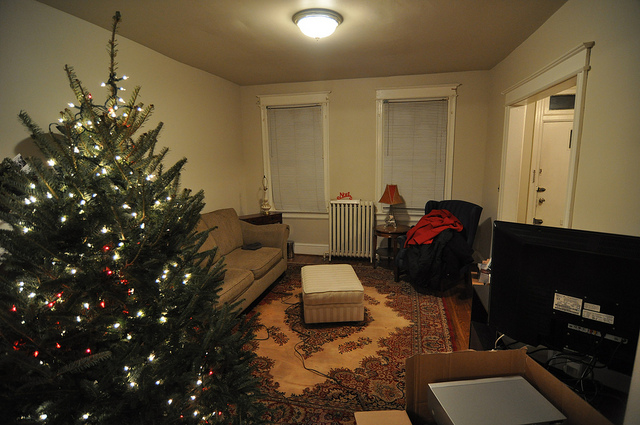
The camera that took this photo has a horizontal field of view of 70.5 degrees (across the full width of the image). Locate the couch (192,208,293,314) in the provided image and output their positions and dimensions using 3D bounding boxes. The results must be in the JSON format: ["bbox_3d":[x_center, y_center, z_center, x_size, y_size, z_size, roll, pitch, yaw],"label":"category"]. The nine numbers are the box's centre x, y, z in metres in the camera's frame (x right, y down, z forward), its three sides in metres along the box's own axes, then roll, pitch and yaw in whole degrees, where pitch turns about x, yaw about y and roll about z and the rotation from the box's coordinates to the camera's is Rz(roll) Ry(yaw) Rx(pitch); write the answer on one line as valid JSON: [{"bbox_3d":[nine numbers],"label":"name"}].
[{"bbox_3d":[-0.830,0.480,5.021,0.856,0.849,1.989,2,16,8],"label":"couch"}]

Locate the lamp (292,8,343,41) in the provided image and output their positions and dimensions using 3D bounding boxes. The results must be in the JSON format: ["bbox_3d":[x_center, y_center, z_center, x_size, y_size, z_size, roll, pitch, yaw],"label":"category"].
[{"bbox_3d":[-0.018,-1.669,4.001,0.444,0.180,0.245,0,9,-3],"label":"lamp"}]

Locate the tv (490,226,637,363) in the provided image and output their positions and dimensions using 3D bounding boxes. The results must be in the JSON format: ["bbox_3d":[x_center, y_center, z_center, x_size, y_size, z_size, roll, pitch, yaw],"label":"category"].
[{"bbox_3d":[1.317,0.432,2.448,0.749,0.613,0.243,4,9,33],"label":"tv"}]

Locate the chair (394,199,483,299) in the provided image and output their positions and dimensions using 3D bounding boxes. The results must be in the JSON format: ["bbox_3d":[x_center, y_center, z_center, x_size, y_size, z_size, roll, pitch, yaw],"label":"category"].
[{"bbox_3d":[1.339,0.387,5.317,0.903,0.978,0.817,-11,16,-42],"label":"chair"}]

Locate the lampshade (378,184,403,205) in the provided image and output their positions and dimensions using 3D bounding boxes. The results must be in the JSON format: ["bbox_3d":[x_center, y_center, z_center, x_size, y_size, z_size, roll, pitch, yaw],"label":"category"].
[{"bbox_3d":[0.895,-0.228,5.816,0.257,0.212,0.248,-5,14,-12],"label":"lampshade"}]
